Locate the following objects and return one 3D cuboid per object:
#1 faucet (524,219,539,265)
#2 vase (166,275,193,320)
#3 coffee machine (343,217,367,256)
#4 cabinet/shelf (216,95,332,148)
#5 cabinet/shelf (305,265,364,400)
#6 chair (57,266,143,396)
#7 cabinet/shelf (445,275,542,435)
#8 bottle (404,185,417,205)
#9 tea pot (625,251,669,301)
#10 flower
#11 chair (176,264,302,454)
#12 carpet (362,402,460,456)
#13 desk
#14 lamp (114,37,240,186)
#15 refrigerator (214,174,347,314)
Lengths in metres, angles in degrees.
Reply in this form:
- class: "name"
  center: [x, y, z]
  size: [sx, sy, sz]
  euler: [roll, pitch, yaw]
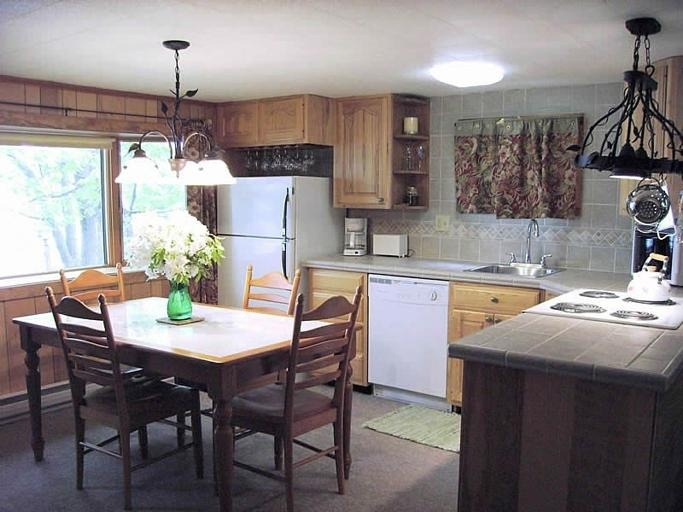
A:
- class: "faucet"
  center: [1.587, -0.123, 4.512]
  size: [0.136, 0.385, 0.154]
  euler: [0, 9, 13]
- class: "vase"
  center: [-1.015, 0.272, 3.386]
  size: [0.156, 0.248, 0.154]
  euler: [1, 4, -42]
- class: "coffee machine"
  center: [0.116, -0.170, 5.151]
  size: [0.205, 0.330, 0.192]
  euler: [2, -2, 8]
- class: "cabinet/shelf"
  center: [-0.664, -1.285, 5.264]
  size: [1.295, 0.454, 0.404]
  euler: [7, 9, 38]
- class: "cabinet/shelf"
  center: [0.110, 0.615, 5.014]
  size: [0.773, 1.083, 0.752]
  euler: [3, 10, 14]
- class: "chair"
  center: [-1.636, 0.378, 3.713]
  size: [0.513, 0.756, 0.515]
  euler: [-11, -17, -20]
- class: "cabinet/shelf"
  center: [1.218, 0.672, 4.314]
  size: [0.627, 1.116, 0.573]
  euler: [8, 18, 25]
- class: "bottle"
  center: [0.645, -0.549, 4.946]
  size: [0.105, 0.166, 0.169]
  euler: [-1, -2, 27]
- class: "tea pot"
  center: [1.786, 0.127, 3.108]
  size: [0.205, 0.284, 0.296]
  euler: [-1, 5, 5]
- class: "flower"
  center: [-1.059, 0.005, 3.322]
  size: [0.433, 0.436, 0.469]
  euler: [-7, 0, -4]
- class: "chair"
  center: [-0.614, 0.475, 3.564]
  size: [0.482, 0.846, 0.532]
  euler: [5, -12, 24]
- class: "carpet"
  center: [0.609, 1.249, 4.060]
  size: [0.731, 0.041, 0.627]
  euler: [3, 8, 30]
- class: "desk"
  center: [-1.038, 0.913, 3.532]
  size: [2.031, 0.948, 1.264]
  euler: [2, 3, 29]
- class: "lamp"
  center: [-0.898, -0.791, 2.999]
  size: [0.650, 0.714, 0.642]
  euler: [-1, 18, -12]
- class: "refrigerator"
  center: [-0.713, -0.062, 5.197]
  size: [0.747, 1.302, 0.553]
  euler: [4, 10, 12]
